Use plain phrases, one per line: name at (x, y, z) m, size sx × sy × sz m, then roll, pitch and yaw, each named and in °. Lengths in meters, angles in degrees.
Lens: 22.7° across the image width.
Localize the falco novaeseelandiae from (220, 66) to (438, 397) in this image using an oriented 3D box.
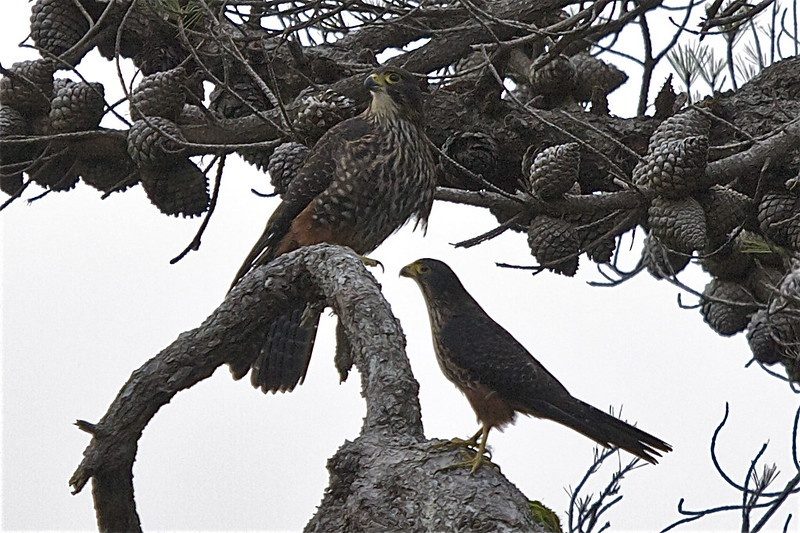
falco novaeseelandiae at (-0.458, -0.378, 13.545) m, size 1.349 × 1.803 × 0.756 m, roll -23°, pitch -37°, yaw 29°

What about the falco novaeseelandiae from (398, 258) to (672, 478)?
falco novaeseelandiae at (0.684, 0.687, 12.703) m, size 1.632 × 1.008 × 0.584 m, roll 31°, pitch -75°, yaw -14°
